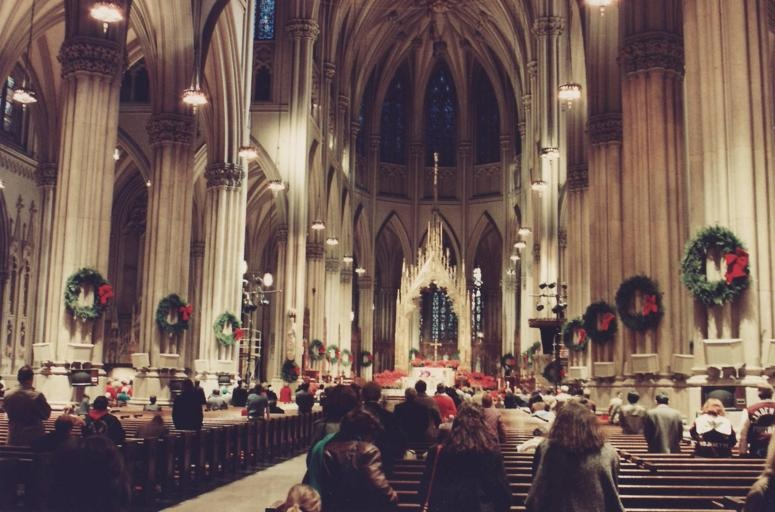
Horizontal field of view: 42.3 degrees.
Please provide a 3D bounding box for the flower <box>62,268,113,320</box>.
[{"bbox_3d":[-8.544,1.070,28.236,1.309,1.500,0.525,2,-12,-21],"label":"flower"}]

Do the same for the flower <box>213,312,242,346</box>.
[{"bbox_3d":[-5.839,2.641,36.500,1.088,1.170,0.466,3,-13,-28],"label":"flower"}]

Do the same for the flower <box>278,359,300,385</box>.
[{"bbox_3d":[-3.905,4.720,41.031,0.811,0.915,0.601,-6,1,4],"label":"flower"}]

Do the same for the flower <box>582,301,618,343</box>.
[{"bbox_3d":[6.821,2.016,30.642,1.028,1.177,0.369,-19,-21,34],"label":"flower"}]

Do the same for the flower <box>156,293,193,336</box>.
[{"bbox_3d":[-7.110,1.893,33.006,1.179,1.390,0.359,5,-13,-31],"label":"flower"}]
